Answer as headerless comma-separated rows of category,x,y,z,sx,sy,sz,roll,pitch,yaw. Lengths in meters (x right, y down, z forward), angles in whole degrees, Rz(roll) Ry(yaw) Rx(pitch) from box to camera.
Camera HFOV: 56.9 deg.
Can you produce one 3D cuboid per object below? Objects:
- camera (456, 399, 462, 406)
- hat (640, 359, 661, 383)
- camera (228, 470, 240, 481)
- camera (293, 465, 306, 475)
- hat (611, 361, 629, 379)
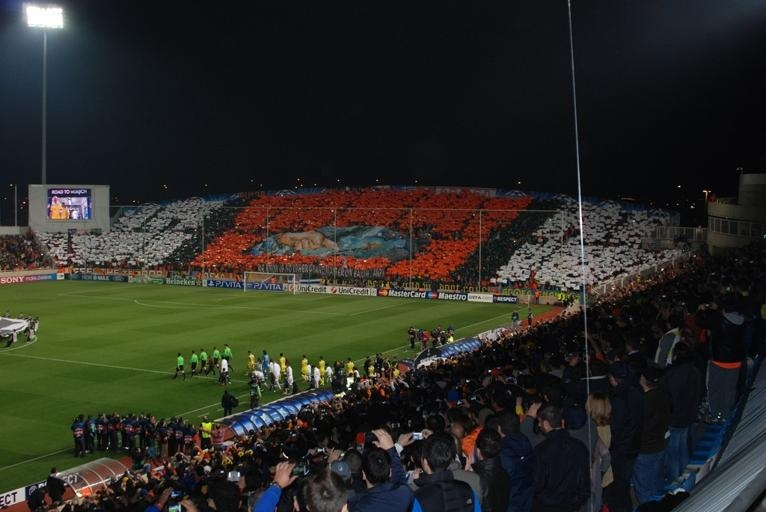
camera,1.638,3.154,15.096,0.089,0.103,0.156,8,-8,-25
hat,4.970,2.173,13.050,0.351,0.357,0.423,-7,-2,21
camera,-2.512,3.686,11.808,0.192,0.141,0.263,-6,-2,-14
camera,-1.218,3.163,10.418,0.151,0.127,0.199,-6,-2,14
hat,4.257,2.059,12.684,0.255,0.240,0.317,-1,-9,-3
